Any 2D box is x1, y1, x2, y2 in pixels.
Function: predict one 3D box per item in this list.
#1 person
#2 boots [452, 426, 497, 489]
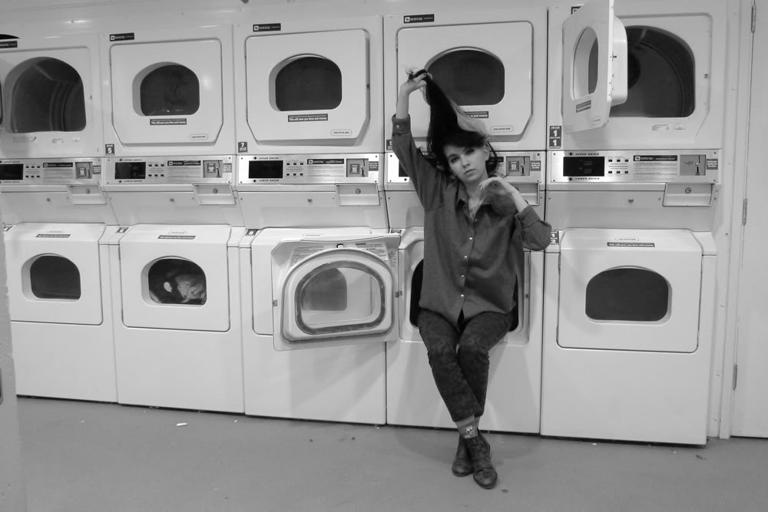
[{"bbox_3d":[0.534,0.077,3.672,0.706,2.308,0.715,-6,9,-26],"label":"person"},{"bbox_3d":[0.501,1.143,3.414,0.147,0.176,0.429,-7,-9,5],"label":"boots"}]
